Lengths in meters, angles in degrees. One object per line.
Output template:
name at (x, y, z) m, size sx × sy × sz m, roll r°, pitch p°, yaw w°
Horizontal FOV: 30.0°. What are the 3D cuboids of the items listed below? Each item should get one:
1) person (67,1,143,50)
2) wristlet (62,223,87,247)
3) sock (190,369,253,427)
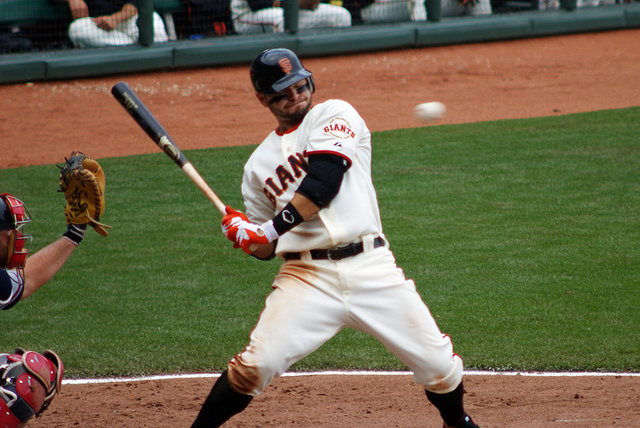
person at (-3.350, -2.938, 18.508) m, size 1.015 × 0.723 × 0.353 m, roll 0°, pitch 12°, yaw 7°
wristlet at (-2.657, 0.231, 12.994) m, size 0.265 × 0.257 × 0.087 m, roll -4°, pitch 12°, yaw -10°
sock at (-1.033, 2.064, 12.781) m, size 0.313 × 0.991 × 0.293 m, roll 33°, pitch 14°, yaw -16°
